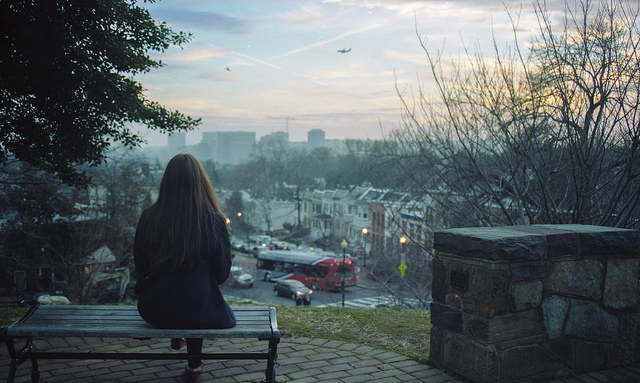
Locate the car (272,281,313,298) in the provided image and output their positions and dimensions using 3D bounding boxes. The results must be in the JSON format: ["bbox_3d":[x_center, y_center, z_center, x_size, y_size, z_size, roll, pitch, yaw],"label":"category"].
[{"bbox_3d":[-1.755,5.743,40.518,0.921,0.674,1.906,1,-6,-40],"label":"car"}]

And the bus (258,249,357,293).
[{"bbox_3d":[-1.049,4.893,45.156,2.369,2.230,7.820,-1,4,-42],"label":"bus"}]

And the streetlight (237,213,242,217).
[{"bbox_3d":[-7.875,2.264,67.160,0.327,0.190,0.328,-2,3,-20],"label":"streetlight"}]
